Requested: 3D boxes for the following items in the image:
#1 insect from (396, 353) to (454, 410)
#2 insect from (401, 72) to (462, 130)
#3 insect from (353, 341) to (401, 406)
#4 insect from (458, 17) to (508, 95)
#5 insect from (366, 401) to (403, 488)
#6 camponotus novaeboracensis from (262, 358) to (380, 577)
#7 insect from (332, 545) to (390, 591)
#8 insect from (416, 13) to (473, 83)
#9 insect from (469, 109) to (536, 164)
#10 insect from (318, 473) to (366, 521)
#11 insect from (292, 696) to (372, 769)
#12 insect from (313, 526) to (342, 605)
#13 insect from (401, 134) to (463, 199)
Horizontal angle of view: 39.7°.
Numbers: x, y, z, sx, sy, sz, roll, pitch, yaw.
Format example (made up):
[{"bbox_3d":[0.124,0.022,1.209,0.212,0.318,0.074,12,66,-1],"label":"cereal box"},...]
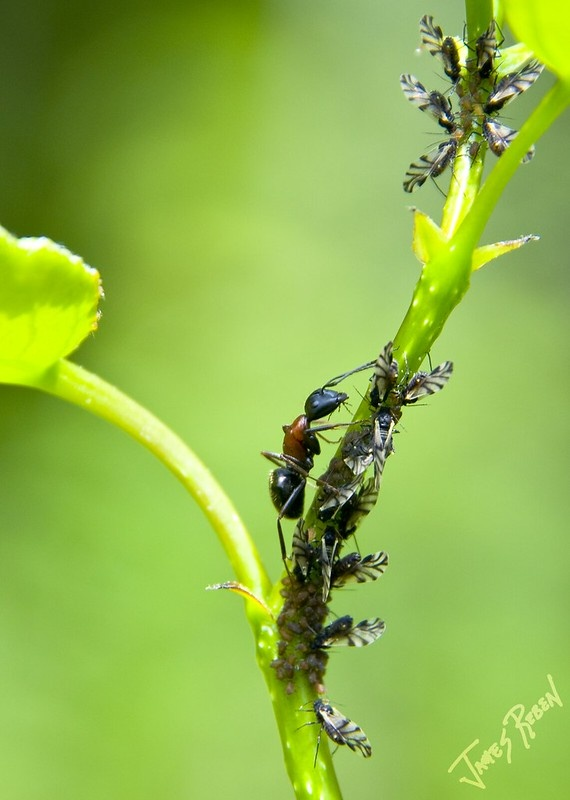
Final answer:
[{"bbox_3d":[0.042,-0.005,0.242,0.015,0.012,0.005,-35,-83,3],"label":"insect"},{"bbox_3d":[0.047,-0.098,0.268,0.006,0.021,0.015,-44,-2,37],"label":"insect"},{"bbox_3d":[0.028,-0.008,0.235,0.004,0.014,0.016,11,-84,-29],"label":"insect"},{"bbox_3d":[0.063,-0.108,0.252,0.006,0.015,0.021,5,-84,-51],"label":"insect"},{"bbox_3d":[0.029,0.012,0.234,0.008,0.025,0.009,11,-33,-3],"label":"insect"},{"bbox_3d":[0.025,0.024,0.286,0.021,0.043,0.066,28,-91,-9],"label":"camponotus novaeboracensis"},{"bbox_3d":[0.023,0.051,0.242,0.016,0.011,0.006,-41,-10,16],"label":"insect"},{"bbox_3d":[0.050,-0.122,0.269,0.006,0.020,0.020,-32,-34,8],"label":"insect"},{"bbox_3d":[0.068,-0.084,0.250,0.014,0.020,0.006,-14,-40,-24],"label":"insect"},{"bbox_3d":[0.017,0.028,0.252,0.013,0.004,0.013,-43,-4,2],"label":"insect"},{"bbox_3d":[0.015,0.102,0.246,0.016,0.020,0.020,-33,-43,19],"label":"insect"},{"bbox_3d":[0.013,0.051,0.242,0.007,0.022,0.008,5,-5,-2],"label":"insect"},{"bbox_3d":[0.052,-0.083,0.290,0.024,0.012,0.011,-41,-59,12],"label":"insect"}]
